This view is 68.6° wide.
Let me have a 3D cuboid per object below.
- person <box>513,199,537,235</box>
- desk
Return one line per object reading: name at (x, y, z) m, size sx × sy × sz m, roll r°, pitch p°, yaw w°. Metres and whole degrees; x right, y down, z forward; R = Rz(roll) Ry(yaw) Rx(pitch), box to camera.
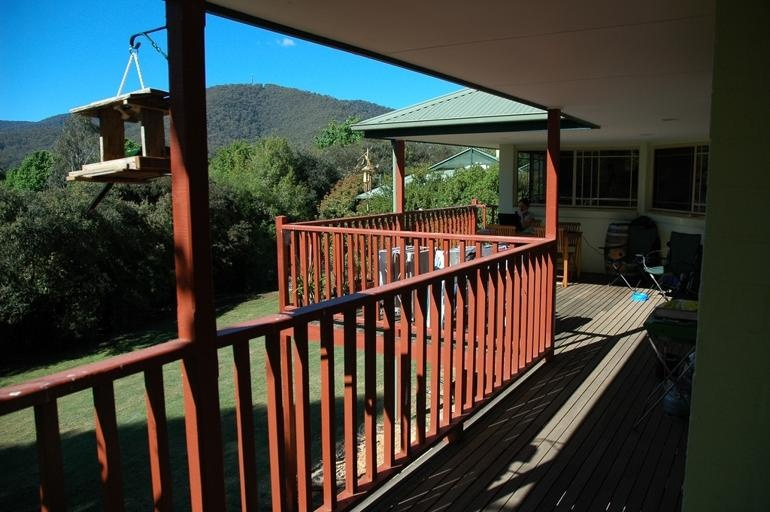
person at (2.635, -0.710, 10.776) m, size 0.473 × 0.798 × 0.463 m, roll -3°, pitch 12°, yaw 4°
desk at (0.258, 0.455, 7.888) m, size 1.071 × 1.054 × 0.845 m, roll -6°, pitch -1°, yaw 44°
